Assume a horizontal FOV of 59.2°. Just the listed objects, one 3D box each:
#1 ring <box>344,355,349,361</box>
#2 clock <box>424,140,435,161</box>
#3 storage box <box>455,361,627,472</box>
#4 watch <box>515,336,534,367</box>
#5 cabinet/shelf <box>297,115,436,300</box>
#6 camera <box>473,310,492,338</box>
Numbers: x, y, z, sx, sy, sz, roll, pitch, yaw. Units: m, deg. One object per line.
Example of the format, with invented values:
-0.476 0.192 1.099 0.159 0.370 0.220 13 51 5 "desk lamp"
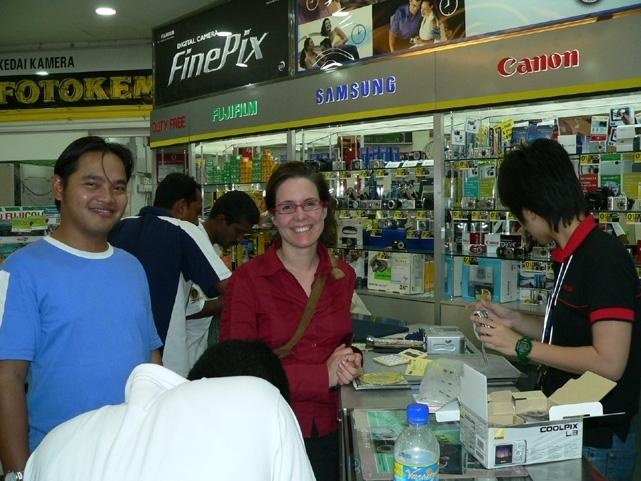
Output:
0.112 0.495 2.394 0.020 0.020 0.005 1 -14 -13 "ring"
1.040 -0.875 5.385 0.028 0.194 0.121 -4 4 -25 "clock"
0.703 0.542 1.798 0.389 0.279 0.307 1 -4 -14 "storage box"
0.744 0.405 2.108 0.058 0.100 0.090 5 2 36 "watch"
0.497 -0.294 4.872 0.556 1.552 1.706 2 -4 -44 "cabinet/shelf"
0.649 0.327 2.251 0.030 0.125 0.065 -7 0 -4 "camera"
